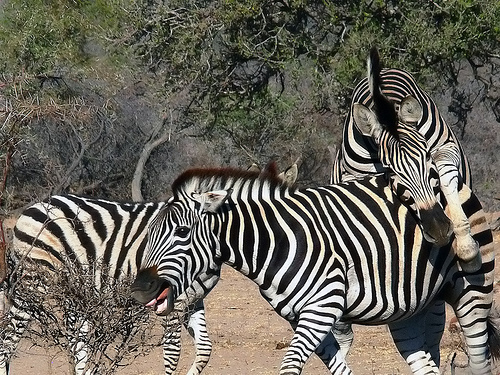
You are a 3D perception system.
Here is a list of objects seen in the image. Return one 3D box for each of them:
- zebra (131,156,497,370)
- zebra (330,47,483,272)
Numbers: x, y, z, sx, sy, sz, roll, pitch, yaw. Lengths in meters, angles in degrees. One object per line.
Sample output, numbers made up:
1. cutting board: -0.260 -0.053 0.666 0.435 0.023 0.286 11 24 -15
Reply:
1. zebra: 0.650 1.008 8.597 4.578 3.243 1.644 3 -18 -10
2. zebra: 1.630 -0.478 8.479 1.474 2.328 3.162 -16 11 5
